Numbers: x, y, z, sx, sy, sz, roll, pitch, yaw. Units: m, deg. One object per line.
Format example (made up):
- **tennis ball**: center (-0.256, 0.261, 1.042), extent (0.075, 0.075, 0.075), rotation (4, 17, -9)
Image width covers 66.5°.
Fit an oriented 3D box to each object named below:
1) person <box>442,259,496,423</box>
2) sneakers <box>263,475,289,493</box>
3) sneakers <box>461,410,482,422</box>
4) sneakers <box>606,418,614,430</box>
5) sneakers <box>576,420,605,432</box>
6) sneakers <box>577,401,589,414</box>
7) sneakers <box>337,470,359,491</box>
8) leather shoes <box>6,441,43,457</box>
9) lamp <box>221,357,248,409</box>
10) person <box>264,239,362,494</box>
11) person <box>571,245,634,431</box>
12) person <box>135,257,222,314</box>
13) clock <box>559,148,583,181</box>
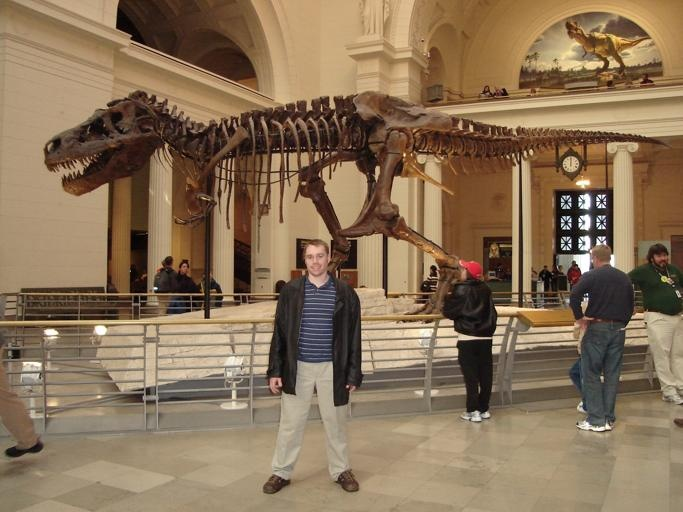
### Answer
- **person**: center (1.409, 0.926, 5.764), extent (0.548, 1.704, 0.545), rotation (2, 5, 23)
- **sneakers**: center (-0.513, 1.789, 4.046), extent (0.081, 0.098, 0.239), rotation (-6, -19, 23)
- **sneakers**: center (1.402, 1.727, 5.625), extent (0.094, 0.095, 0.215), rotation (3, -3, -27)
- **sneakers**: center (2.789, 1.764, 5.437), extent (0.096, 0.094, 0.122), rotation (4, -7, -25)
- **sneakers**: center (2.565, 1.735, 5.360), extent (0.241, 0.115, 0.094), rotation (3, -1, 39)
- **sneakers**: center (2.768, 1.735, 5.951), extent (0.059, 0.118, 0.176), rotation (1, 1, 27)
- **sneakers**: center (0.047, 1.765, 4.077), extent (0.092, 0.119, 0.180), rotation (-2, 5, -33)
- **leather shoes**: center (-2.840, 1.740, 4.682), extent (0.314, 0.130, 0.113), rotation (7, -5, -26)
- **lamp**: center (-1.249, 1.496, 6.030), extent (0.354, 0.600, 0.373), rotation (-4, 15, -23)
- **person**: center (-0.222, 0.860, 4.150), extent (0.765, 1.964, 0.463), rotation (0, 4, -1)
- **person**: center (2.724, 0.844, 5.522), extent (0.516, 1.906, 0.692), rotation (5, 6, 44)
- **person**: center (-3.954, 0.727, 12.449), extent (1.717, 1.148, 0.898), rotation (0, 3, 0)
- **clock**: center (7.187, -2.885, 16.267), extent (0.854, 0.952, 0.531), rotation (2, 5, 14)
